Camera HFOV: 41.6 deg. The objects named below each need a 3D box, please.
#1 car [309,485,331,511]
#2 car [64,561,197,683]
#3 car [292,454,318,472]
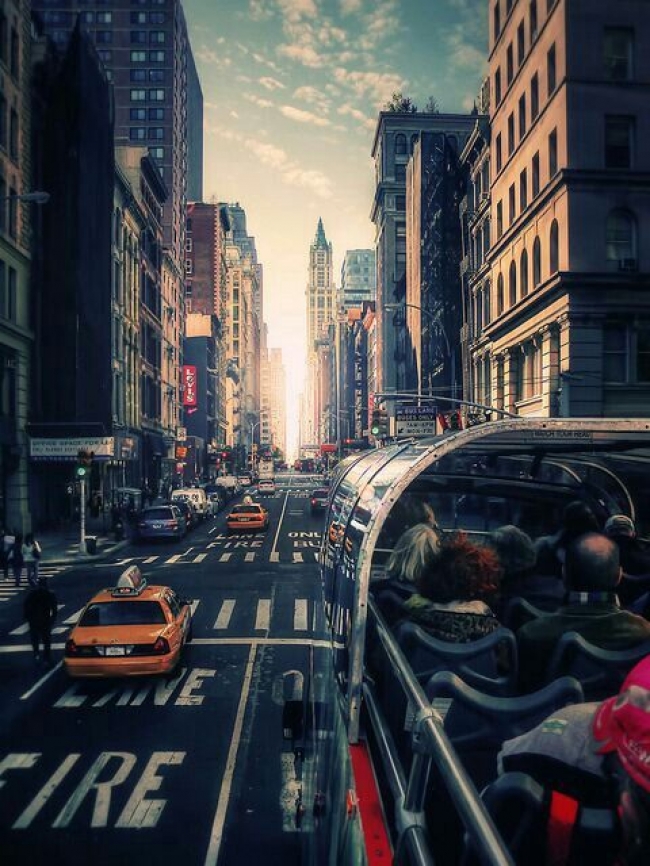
[{"bbox_3d":[-0.311,3.478,45.517,1.042,1.195,2.710,1,6,0],"label":"car"},{"bbox_3d":[-2.599,2.550,11.730,0.799,1.012,2.100,0,4,-2],"label":"car"},{"bbox_3d":[-4.329,6.842,202.751,3.061,3.930,5.819,0,-12,-7],"label":"car"}]
